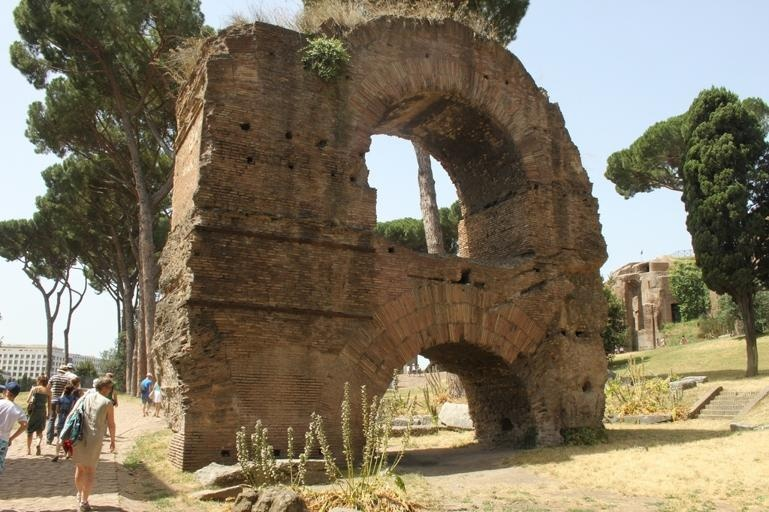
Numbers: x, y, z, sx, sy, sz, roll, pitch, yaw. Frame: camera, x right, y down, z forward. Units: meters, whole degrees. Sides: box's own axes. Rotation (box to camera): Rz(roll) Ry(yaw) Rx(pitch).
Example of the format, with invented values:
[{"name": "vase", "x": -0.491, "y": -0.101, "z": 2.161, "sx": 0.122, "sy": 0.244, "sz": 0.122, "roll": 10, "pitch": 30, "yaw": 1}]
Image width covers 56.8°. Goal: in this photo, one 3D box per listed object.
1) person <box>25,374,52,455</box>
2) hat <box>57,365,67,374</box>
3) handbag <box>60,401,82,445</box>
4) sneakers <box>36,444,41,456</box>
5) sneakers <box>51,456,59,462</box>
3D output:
[{"name": "person", "x": -8.287, "y": 3.826, "z": 17.043, "sx": 0.512, "sy": 1.851, "sz": 1.472, "roll": 2, "pitch": -15, "yaw": -25}, {"name": "hat", "x": -8.080, "y": 2.857, "z": 17.859, "sx": 0.208, "sy": 0.216, "sz": 0.245, "roll": 1, "pitch": 1, "yaw": 9}, {"name": "handbag", "x": -5.959, "y": 3.205, "z": 13.560, "sx": 0.436, "sy": 0.728, "sz": 0.150, "roll": -8, "pitch": -14, "yaw": 17}, {"name": "sneakers", "x": -8.187, "y": 4.590, "z": 16.823, "sx": 0.108, "sy": 0.246, "sz": 0.106, "roll": 2, "pitch": -3, "yaw": -7}, {"name": "sneakers", "x": -7.529, "y": 4.649, "z": 16.262, "sx": 0.103, "sy": 0.152, "sz": 0.161, "roll": 5, "pitch": 0, "yaw": -16}]
